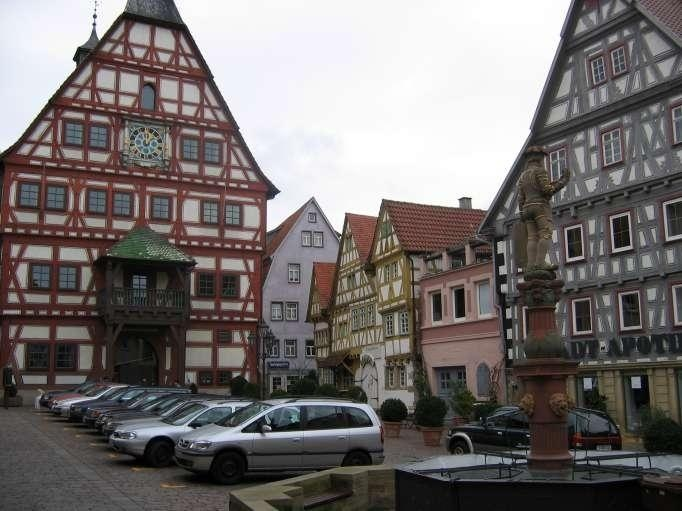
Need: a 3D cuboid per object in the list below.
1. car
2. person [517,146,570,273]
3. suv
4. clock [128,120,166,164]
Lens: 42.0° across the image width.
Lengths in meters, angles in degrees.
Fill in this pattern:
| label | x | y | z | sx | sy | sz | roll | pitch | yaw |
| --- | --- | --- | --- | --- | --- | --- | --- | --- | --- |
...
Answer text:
| label | x | y | z | sx | sy | sz | roll | pitch | yaw |
| --- | --- | --- | --- | --- | --- | --- | --- | --- | --- |
| car | -2.158 | 5.000 | 24.171 | 6.628 | 2.242 | 2.537 | -1 | -14 | -2 |
| person | 4.628 | -1.104 | 20.852 | 1.164 | 3.112 | 0.926 | -4 | -14 | 12 |
| suv | 5.515 | 5.028 | 25.876 | 4.958 | 1.377 | 1.436 | -14 | -19 | 40 |
| clock | -10.408 | -6.017 | 47.770 | 2.088 | 2.081 | 0.482 | 5 | -15 | -26 |
